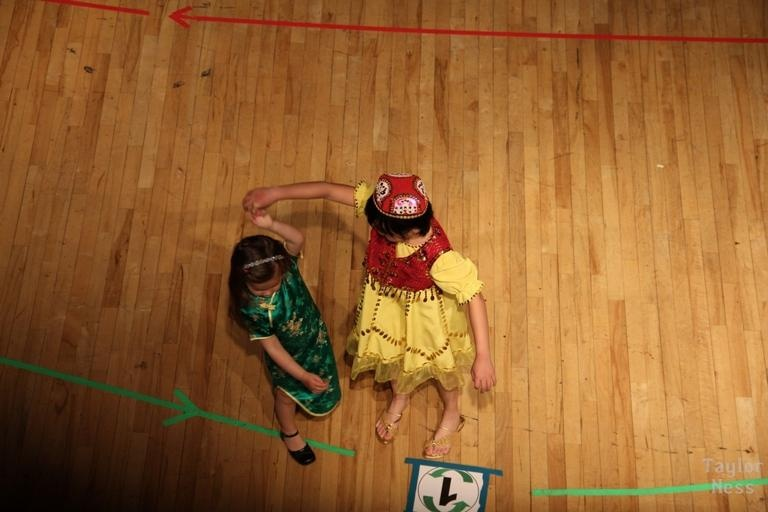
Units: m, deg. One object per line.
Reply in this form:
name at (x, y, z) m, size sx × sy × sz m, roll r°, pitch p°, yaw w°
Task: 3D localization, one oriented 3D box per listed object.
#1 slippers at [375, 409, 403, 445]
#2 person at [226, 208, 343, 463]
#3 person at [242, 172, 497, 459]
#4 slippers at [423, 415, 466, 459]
slippers at (0.042, 1.005, 4.011) m, size 0.144 × 0.110 × 0.279 m, roll 14°, pitch 14°, yaw 22°
person at (-0.534, 0.485, 3.708) m, size 0.459 × 1.632 × 0.487 m, roll 3°, pitch 44°, yaw 12°
person at (0.134, 0.412, 3.772) m, size 1.406 × 1.857 × 0.742 m, roll 24°, pitch 45°, yaw 31°
slippers at (0.343, 1.098, 3.997) m, size 0.128 × 0.342 × 0.099 m, roll 38°, pitch 7°, yaw 26°
